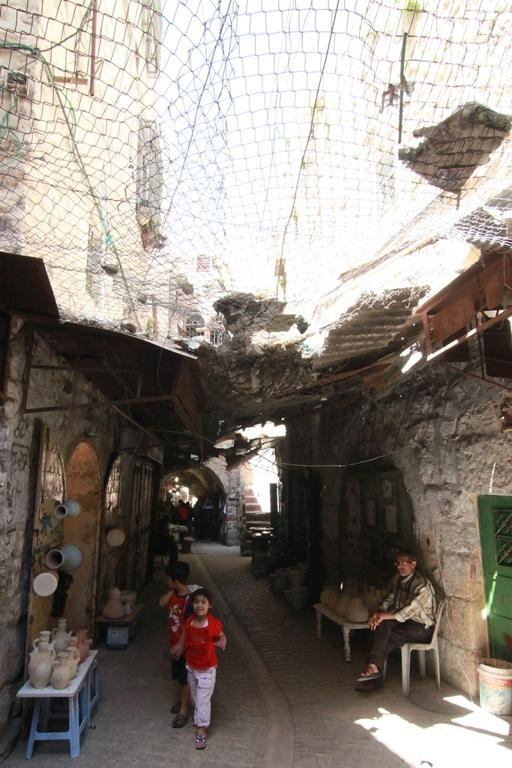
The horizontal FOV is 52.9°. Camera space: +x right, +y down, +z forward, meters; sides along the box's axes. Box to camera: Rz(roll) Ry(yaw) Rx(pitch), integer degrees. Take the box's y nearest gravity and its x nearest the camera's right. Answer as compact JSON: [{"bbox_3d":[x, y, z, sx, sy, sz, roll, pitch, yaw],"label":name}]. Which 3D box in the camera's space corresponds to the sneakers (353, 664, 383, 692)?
[{"bbox_3d":[0.967,2.470,4.334,0.135,0.199,0.381,-9,-23,21],"label":"sneakers"}]

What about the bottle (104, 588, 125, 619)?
[{"bbox_3d":[-1.486,2.354,5.482,0.209,0.238,0.216,3,-21,-11],"label":"bottle"}]

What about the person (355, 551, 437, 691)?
[{"bbox_3d":[1.219,2.037,4.475,0.745,1.072,0.472,-2,-12,7],"label":"person"}]

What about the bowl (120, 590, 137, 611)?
[{"bbox_3d":[-1.428,2.414,5.738,0.161,0.132,0.163,0,-2,0],"label":"bowl"}]

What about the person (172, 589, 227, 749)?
[{"bbox_3d":[-0.387,1.933,3.640,0.357,0.939,0.583,4,-13,-23],"label":"person"}]

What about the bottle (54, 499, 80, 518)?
[{"bbox_3d":[-1.491,0.994,4.047,0.165,0.117,0.254,3,-12,-15],"label":"bottle"}]

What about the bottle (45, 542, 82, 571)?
[{"bbox_3d":[-1.434,1.313,3.834,0.194,0.188,0.352,0,-12,-1],"label":"bottle"}]

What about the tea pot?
[{"bbox_3d":[-1.276,1.769,3.364,0.326,0.313,0.428,-5,-11,35],"label":"tea pot"}]
